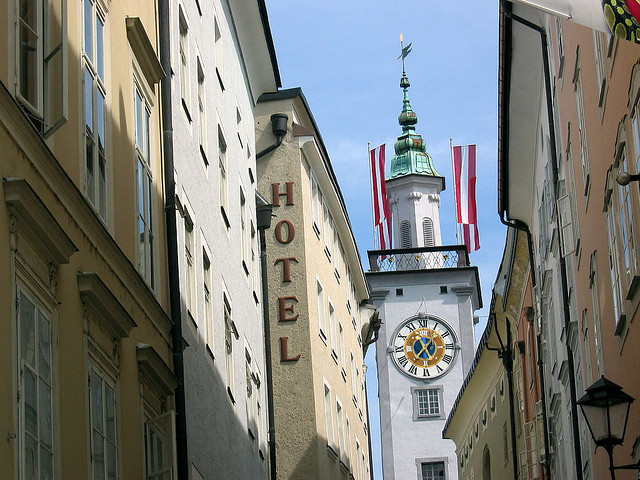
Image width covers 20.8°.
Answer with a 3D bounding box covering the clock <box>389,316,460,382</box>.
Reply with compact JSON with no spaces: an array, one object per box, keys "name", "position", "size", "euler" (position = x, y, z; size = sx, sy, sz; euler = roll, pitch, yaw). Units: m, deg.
[{"name":"clock","position":[4.982,5.180,81.991],"size":[1.933,2.195,0.288],"euler":[31,4,13]}]
